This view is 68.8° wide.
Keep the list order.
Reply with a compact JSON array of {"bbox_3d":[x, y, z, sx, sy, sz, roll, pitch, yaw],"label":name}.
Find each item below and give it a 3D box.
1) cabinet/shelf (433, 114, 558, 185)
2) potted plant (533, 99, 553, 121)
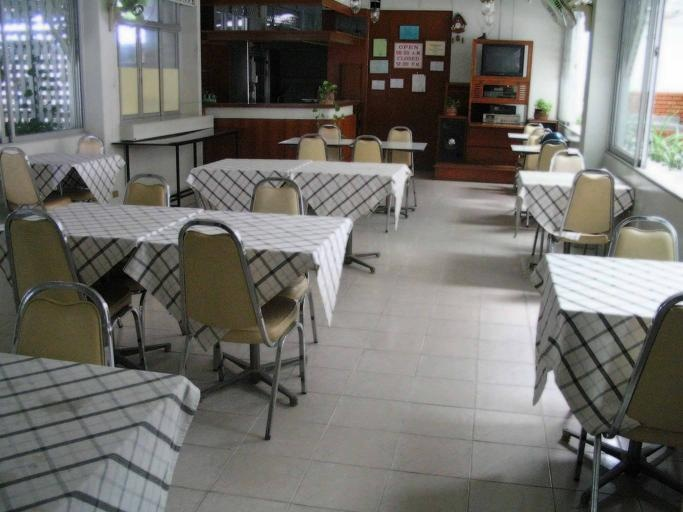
[{"bbox_3d":[2.582,-2.050,9.505,2.269,1.341,1.441,1,0,15],"label":"cabinet/shelf"},{"bbox_3d":[3.920,-2.837,9.837,0.364,0.464,0.420,-4,21,-12],"label":"potted plant"}]
